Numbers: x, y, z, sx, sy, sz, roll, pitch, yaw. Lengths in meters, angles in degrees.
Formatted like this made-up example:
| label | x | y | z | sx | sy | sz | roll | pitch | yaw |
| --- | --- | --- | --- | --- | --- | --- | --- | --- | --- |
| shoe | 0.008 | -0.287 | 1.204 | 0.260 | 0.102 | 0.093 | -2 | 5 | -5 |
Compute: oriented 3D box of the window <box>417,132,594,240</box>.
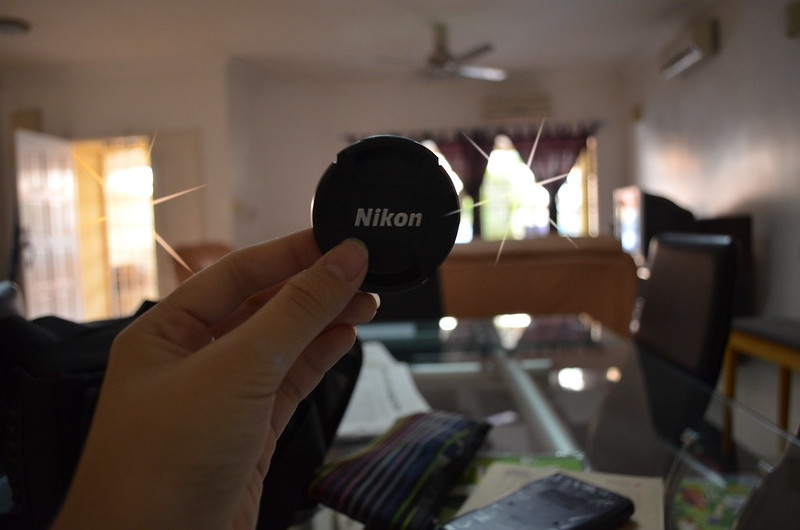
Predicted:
| label | x | y | z | sx | sy | sz | roll | pitch | yaw |
| --- | --- | --- | --- | --- | --- | --- | --- | --- | --- |
| window | 0.160 | -0.123 | 0.886 | 0.266 | 0.176 | 0.023 | 4 | 16 | 43 |
